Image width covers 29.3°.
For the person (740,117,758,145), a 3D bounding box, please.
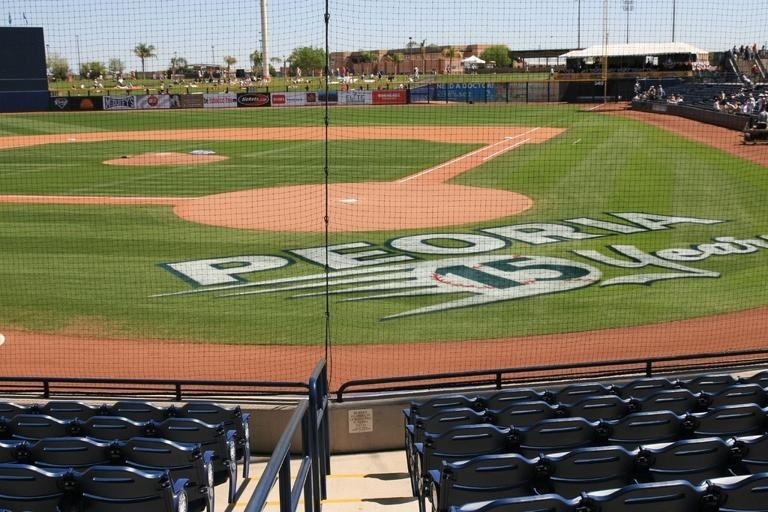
[{"bbox_3d":[16.234,-5.667,65.215,0.744,1.174,1.730,-1,9,12],"label":"person"}]
